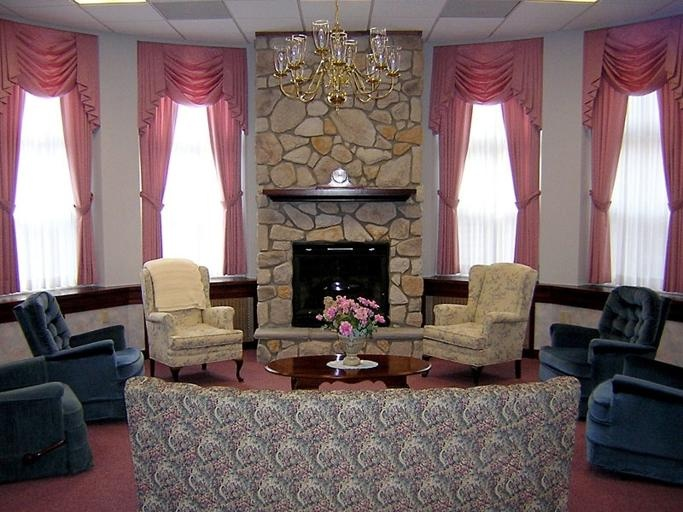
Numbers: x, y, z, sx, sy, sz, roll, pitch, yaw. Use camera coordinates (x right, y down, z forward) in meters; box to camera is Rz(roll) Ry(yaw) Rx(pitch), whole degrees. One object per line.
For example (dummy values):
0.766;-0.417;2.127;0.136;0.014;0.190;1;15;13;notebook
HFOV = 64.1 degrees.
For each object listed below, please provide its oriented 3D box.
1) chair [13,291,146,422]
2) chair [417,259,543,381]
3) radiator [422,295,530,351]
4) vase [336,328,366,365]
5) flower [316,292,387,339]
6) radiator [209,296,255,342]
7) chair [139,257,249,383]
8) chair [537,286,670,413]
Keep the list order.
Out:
-2.238;0.830;4.748;0.936;0.994;0.774;0;5;-13;chair
1.452;0.672;5.795;1.090;1.140;1.139;2;5;26;chair
1.639;0.712;6.613;0.783;1.002;0.847;7;-8;-44;radiator
0.095;0.781;4.561;0.227;0.240;0.218;7;-12;-26;vase
0.072;0.509;4.659;0.396;0.348;0.468;0;7;-37;flower
-1.240;0.676;6.096;0.616;0.680;0.050;0;3;-17;radiator
-1.567;0.638;5.621;0.761;1.159;0.913;-2;5;-42;chair
2.281;0.816;4.805;0.910;1.076;0.821;0;4;-11;chair
